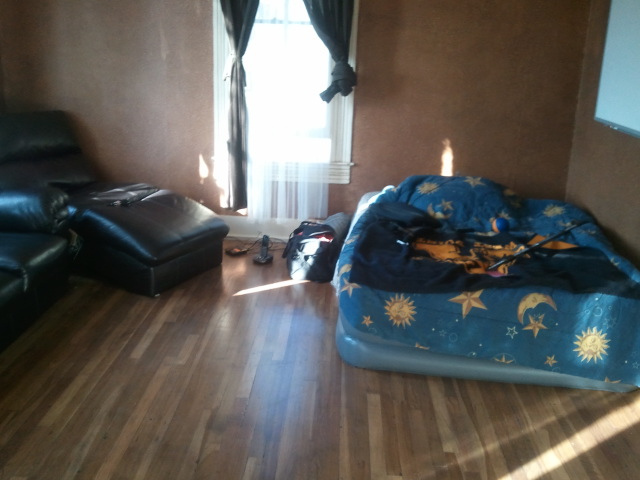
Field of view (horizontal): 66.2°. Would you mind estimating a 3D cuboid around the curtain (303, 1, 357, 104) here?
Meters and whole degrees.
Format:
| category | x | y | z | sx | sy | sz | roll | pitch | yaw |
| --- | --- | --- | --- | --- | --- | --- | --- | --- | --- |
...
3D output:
| category | x | y | z | sx | sy | sz | roll | pitch | yaw |
| --- | --- | --- | --- | --- | --- | --- | --- | --- | --- |
| curtain | 0.093 | -1.481 | 3.882 | 0.419 | 0.748 | 0.276 | -1 | 24 | -2 |
